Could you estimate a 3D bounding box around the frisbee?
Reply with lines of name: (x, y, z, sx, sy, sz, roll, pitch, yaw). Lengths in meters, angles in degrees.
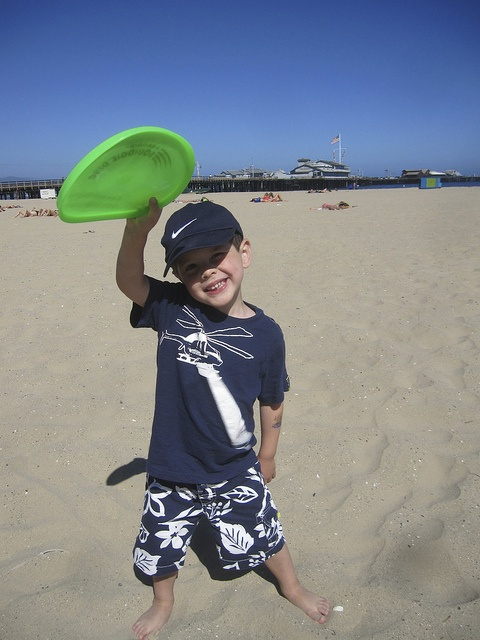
frisbee: (-0.350, -0.467, 1.849, 0.362, 0.282, 0.493, 5, 14, 22)

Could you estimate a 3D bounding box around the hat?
hat: (-0.121, -0.293, 1.965, 0.208, 0.151, 0.279, -25, 4, 18)

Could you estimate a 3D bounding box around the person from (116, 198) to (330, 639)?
person: (-0.087, 0.395, 2.138, 0.678, 1.672, 0.352, -3, 12, -13)
